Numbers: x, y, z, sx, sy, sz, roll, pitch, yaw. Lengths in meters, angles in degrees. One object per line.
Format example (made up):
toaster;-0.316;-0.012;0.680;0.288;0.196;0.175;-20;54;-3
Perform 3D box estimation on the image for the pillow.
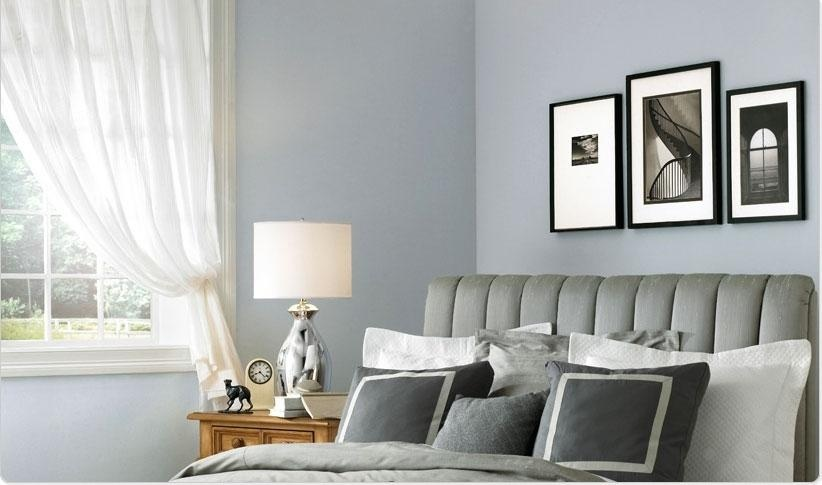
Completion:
pillow;0.905;0.875;3.932;2.481;0.711;0.751;-1;3;30
